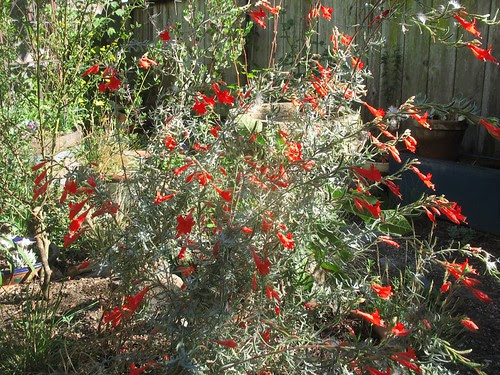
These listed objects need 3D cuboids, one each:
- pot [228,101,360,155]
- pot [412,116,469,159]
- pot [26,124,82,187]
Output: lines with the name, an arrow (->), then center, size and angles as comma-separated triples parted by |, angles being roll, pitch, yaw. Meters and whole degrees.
pot -> 0.177, -0.225, 1.839 | 0.245, 0.126, 0.268 | 1, 14, 0
pot -> 1.470, -0.389, 3.610 | 0.361, 0.331, 0.392 | -3, 20, 1
pot -> -1.018, -0.163, 2.421 | 0.310, 0.285, 0.349 | 0, 10, -2
